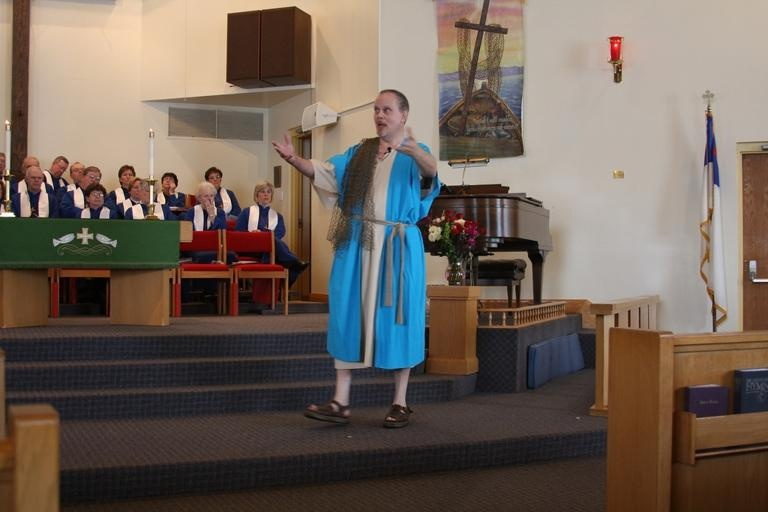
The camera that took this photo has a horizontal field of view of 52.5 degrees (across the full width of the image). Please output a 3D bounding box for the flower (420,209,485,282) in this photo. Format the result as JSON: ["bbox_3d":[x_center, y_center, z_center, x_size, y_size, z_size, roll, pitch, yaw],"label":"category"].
[{"bbox_3d":[0.610,-0.079,6.899,0.606,0.671,0.590,0,-7,-1],"label":"flower"}]

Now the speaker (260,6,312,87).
[{"bbox_3d":[-1.313,-2.808,10.536,0.552,0.981,0.527,0,0,23],"label":"speaker"}]

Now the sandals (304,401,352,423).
[{"bbox_3d":[-0.377,1.051,5.266,0.252,0.110,0.149,12,-10,-20],"label":"sandals"}]

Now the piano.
[{"bbox_3d":[0.975,-0.137,7.949,1.053,1.223,1.332,-3,-6,40],"label":"piano"}]

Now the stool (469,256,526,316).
[{"bbox_3d":[1.190,0.295,8.134,0.596,0.535,0.501,-2,-13,15],"label":"stool"}]

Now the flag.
[{"bbox_3d":[3.616,-0.417,8.507,0.294,2.489,0.319,0,0,-40],"label":"flag"}]

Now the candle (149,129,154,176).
[{"bbox_3d":[-1.908,-0.832,6.400,0.031,0.401,0.501,0,0,-15],"label":"candle"}]

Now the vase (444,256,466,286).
[{"bbox_3d":[0.637,0.129,6.845,0.212,0.294,0.216,1,-10,5],"label":"vase"}]

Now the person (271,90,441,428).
[{"bbox_3d":[-0.081,0.023,5.360,0.905,2.269,0.321,0,0,2],"label":"person"}]

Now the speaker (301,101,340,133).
[{"bbox_3d":[-0.845,-1.816,10.199,0.348,0.253,0.409,-4,0,38],"label":"speaker"}]

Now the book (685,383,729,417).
[{"bbox_3d":[1.651,0.738,3.993,0.158,0.145,0.053,1,-5,-16],"label":"book"}]
